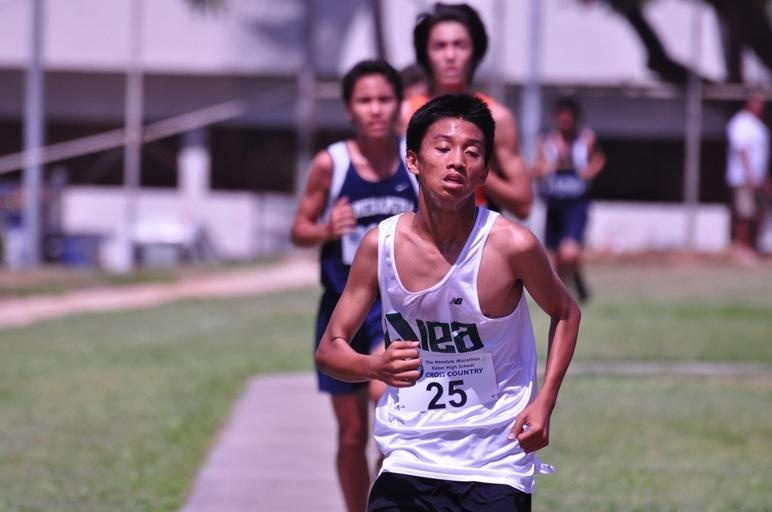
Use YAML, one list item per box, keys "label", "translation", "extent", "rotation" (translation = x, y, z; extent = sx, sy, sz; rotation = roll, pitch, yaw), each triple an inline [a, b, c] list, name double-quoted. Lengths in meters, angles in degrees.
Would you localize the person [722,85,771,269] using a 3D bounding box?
- label: "person"
  translation: [2.172, -0.465, 6.946]
  extent: [0.244, 1.008, 0.149]
  rotation: [0, 2, 19]
